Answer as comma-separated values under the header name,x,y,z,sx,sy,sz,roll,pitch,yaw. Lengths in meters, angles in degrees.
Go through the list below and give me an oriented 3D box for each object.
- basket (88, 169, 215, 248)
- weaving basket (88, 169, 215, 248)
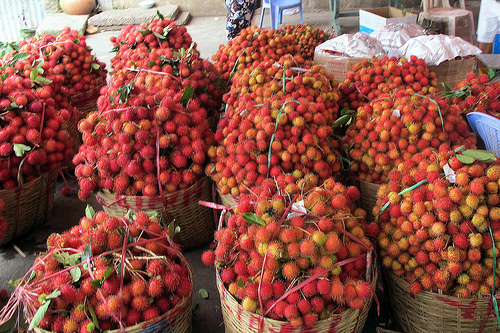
name,x,y,z,sx,sy,sz,roll,pitch,yaw
basket,-0.708,0.330,2.741,0.642,0.352,0.602,5,16,34
weaving basket,-0.658,0.280,2.708,0.642,0.352,0.602,5,16,34
